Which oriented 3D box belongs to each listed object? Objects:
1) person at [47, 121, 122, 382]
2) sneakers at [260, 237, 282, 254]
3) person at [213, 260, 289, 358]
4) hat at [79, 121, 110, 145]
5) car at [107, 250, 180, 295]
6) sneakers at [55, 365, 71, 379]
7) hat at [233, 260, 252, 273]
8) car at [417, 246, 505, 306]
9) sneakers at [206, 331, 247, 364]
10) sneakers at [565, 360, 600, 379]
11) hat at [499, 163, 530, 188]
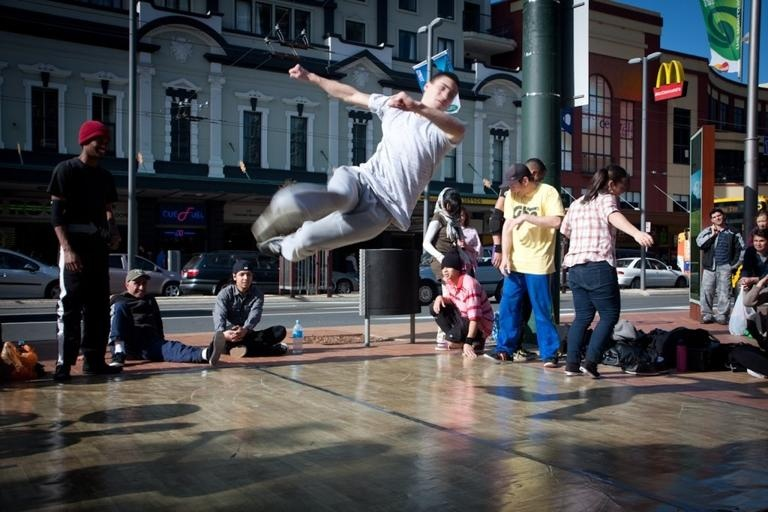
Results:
[{"bbox_3d":[-3.663,-0.069,8.843,0.803,3.095,0.439,0,0,-26],"label":"person"},{"bbox_3d":[-1.145,-0.098,7.366,0.232,0.083,0.159,3,-16,-36],"label":"sneakers"},{"bbox_3d":[-1.975,0.773,10.337,1.035,1.211,1.232,-1,5,-24],"label":"person"},{"bbox_3d":[-3.566,-1.493,8.880,0.309,0.319,0.285,0,-1,-25],"label":"hat"},{"bbox_3d":[-6.819,0.515,20.620,3.026,1.356,1.586,-1,1,-27],"label":"car"},{"bbox_3d":[-3.842,1.390,8.637,0.180,0.171,0.162,0,-1,-22],"label":"sneakers"},{"bbox_3d":[-2.038,0.161,10.399,0.214,0.127,0.205,-2,3,-23],"label":"hat"},{"bbox_3d":[2.354,0.727,21.850,2.760,1.277,1.515,2,-2,-11],"label":"car"},{"bbox_3d":[-2.153,1.172,9.533,0.203,0.531,0.233,24,7,-35],"label":"sneakers"},{"bbox_3d":[2.504,1.456,9.204,0.514,0.196,0.178,4,-2,-12],"label":"sneakers"},{"bbox_3d":[1.788,-1.096,9.936,0.394,0.211,0.260,-17,14,1],"label":"hat"}]
